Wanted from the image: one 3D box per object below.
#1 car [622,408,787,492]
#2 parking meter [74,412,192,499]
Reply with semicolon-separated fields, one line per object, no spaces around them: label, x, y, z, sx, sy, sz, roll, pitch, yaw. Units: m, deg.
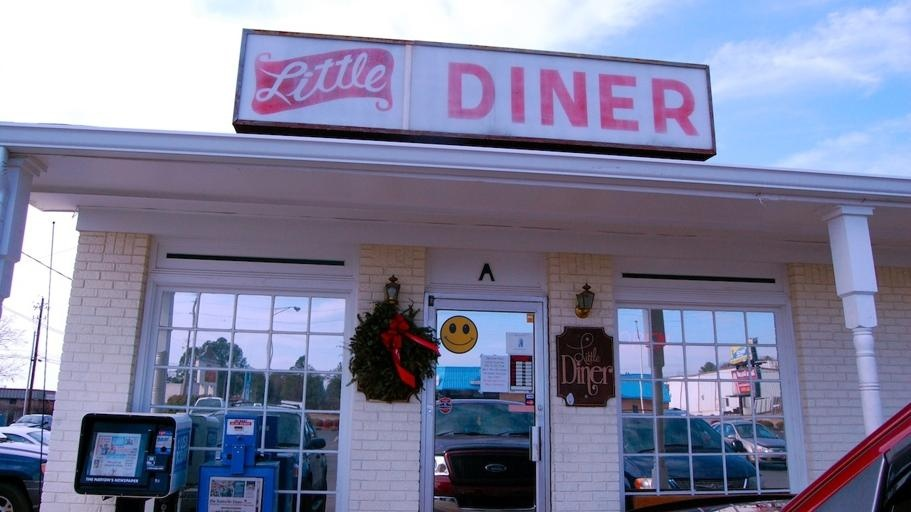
car;3.304;2.688;10.412;1.918;0.848;1.139;-3;-9;-2
parking meter;-3.835;2.402;9.113;1.222;0.887;0.640;-2;-14;11
